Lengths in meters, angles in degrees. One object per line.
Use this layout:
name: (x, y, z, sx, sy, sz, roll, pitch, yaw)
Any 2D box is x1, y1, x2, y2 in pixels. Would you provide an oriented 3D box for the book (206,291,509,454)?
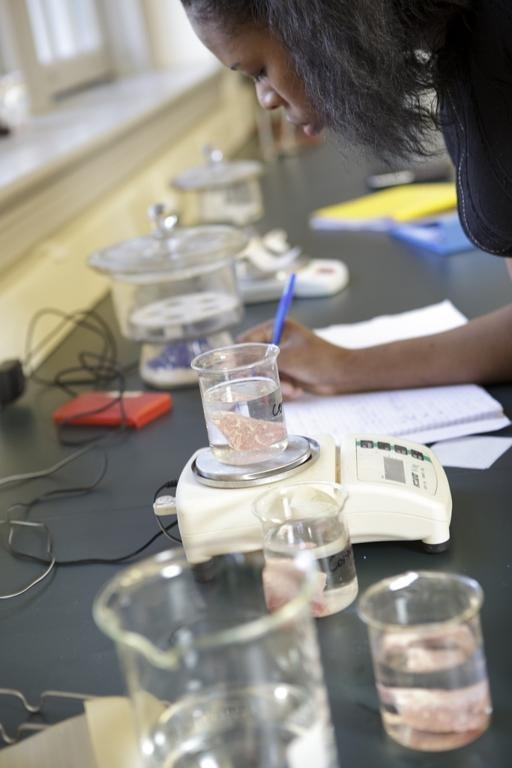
book: (0.169, -0.059, 1.008, 0.406, 0.171, 0.433, -1, 19, -2)
